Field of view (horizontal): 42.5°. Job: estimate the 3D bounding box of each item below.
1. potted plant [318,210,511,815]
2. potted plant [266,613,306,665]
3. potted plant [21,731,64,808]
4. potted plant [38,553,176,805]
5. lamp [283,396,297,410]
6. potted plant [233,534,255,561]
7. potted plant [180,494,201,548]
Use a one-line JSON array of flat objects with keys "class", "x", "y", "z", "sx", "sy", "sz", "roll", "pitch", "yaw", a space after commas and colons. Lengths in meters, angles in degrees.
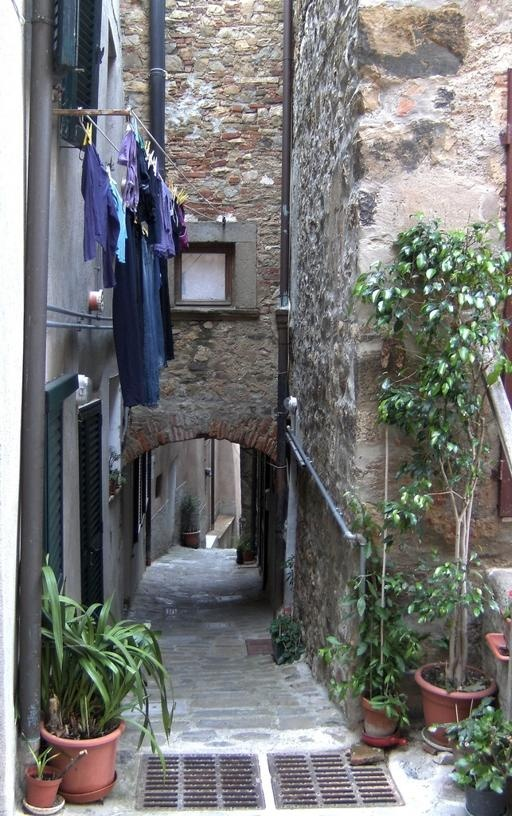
[{"class": "potted plant", "x": 0.731, "y": 0.275, "z": 2.611, "sx": 0.643, "sy": 2.237, "sz": 1.019, "roll": 1, "pitch": -11, "yaw": -9}, {"class": "potted plant", "x": 0.235, "y": 1.846, "z": 5.247, "sx": 0.282, "sy": 0.463, "sz": 0.317, "roll": -4, "pitch": 8, "yaw": -25}, {"class": "potted plant", "x": -0.697, "y": 1.205, "z": 2.155, "sx": 0.117, "sy": 0.185, "sz": 0.225, "roll": 3, "pitch": -12, "yaw": -17}, {"class": "potted plant", "x": -0.559, "y": 1.032, "z": 2.353, "sx": 0.450, "sy": 0.728, "sz": 0.448, "roll": 4, "pitch": -5, "yaw": -17}, {"class": "lamp", "x": 0.322, "y": -0.038, "z": 5.789, "sx": 0.105, "sy": 0.091, "sz": 0.094, "roll": -2, "pitch": 5, "yaw": -41}, {"class": "potted plant", "x": -0.215, "y": 2.672, "z": 12.424, "sx": 0.330, "sy": 0.475, "sz": 0.418, "roll": 0, "pitch": 0, "yaw": -10}, {"class": "potted plant", "x": -1.553, "y": 2.705, "z": 15.435, "sx": 0.585, "sy": 1.190, "sz": 0.321, "roll": 6, "pitch": -12, "yaw": -30}]
